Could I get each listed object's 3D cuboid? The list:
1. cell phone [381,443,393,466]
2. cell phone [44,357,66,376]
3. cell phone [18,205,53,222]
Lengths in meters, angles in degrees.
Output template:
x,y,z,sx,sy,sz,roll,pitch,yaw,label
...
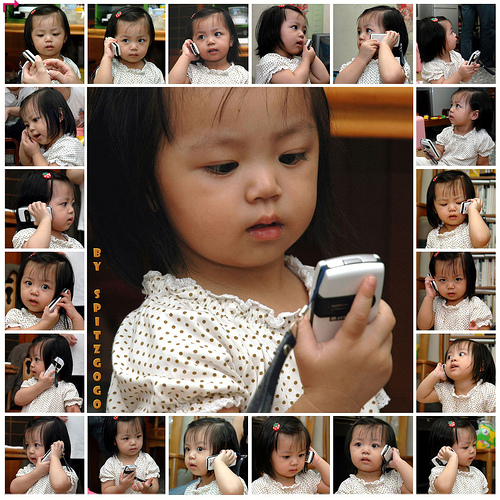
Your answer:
x,y,z,sx,sy,sz,roll,pitch,yaw,label
0.604,0.902,2.266,0.016,0.081,0.053,6,-2,29,cell phone
-0.879,0.520,2.309,0.052,0.110,0.027,31,3,-11,cell phone
-0.983,-0.168,2.339,0.159,0.078,0.023,2,9,3,cell phone
